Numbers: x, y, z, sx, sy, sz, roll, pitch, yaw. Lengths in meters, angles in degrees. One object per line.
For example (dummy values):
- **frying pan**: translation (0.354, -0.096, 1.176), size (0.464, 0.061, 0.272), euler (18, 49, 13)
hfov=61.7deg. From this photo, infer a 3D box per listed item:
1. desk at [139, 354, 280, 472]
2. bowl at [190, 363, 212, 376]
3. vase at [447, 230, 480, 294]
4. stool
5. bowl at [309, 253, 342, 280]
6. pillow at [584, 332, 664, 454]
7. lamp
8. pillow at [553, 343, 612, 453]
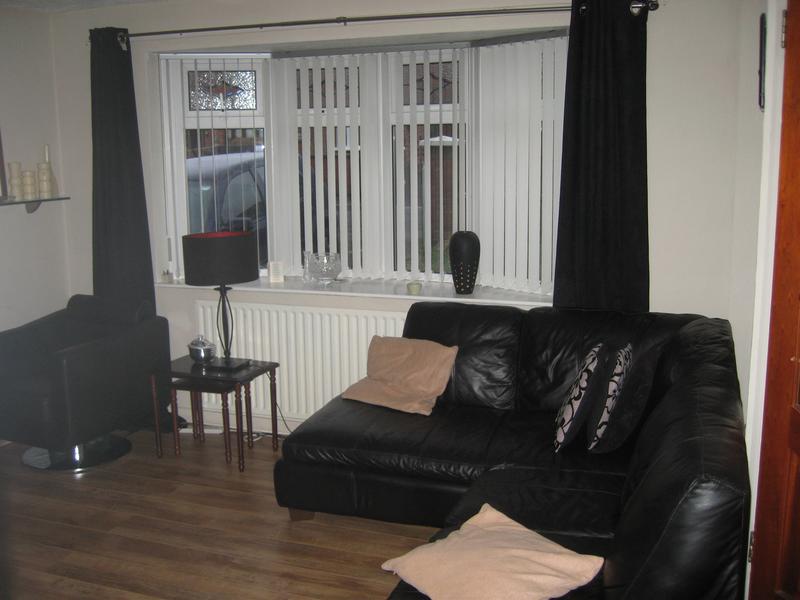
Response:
- **desk**: translation (-1.261, 0.592, 4.526), size (0.973, 0.822, 0.671), euler (2, 6, 25)
- **bowl**: translation (-1.278, 0.444, 4.306), size (0.080, 0.052, 0.092), euler (-2, 4, 2)
- **vase**: translation (0.421, -0.245, 4.375), size (0.204, 0.412, 0.135), euler (0, 14, 0)
- **stool**: translation (-1.261, 0.764, 4.436), size (0.355, 0.576, 0.516), euler (-7, 10, -13)
- **bowl**: translation (-0.537, -0.235, 4.687), size (0.192, 0.142, 0.190), euler (0, 3, 0)
- **pillow**: translation (1.095, 0.429, 3.228), size (0.169, 0.511, 0.470), euler (18, -23, 24)
- **lamp**: translation (-1.181, 0.003, 4.378), size (0.455, 0.924, 0.513), euler (-8, 16, -32)
- **pillow**: translation (0.879, 0.472, 3.264), size (0.221, 0.497, 0.250), euler (3, 14, 12)
